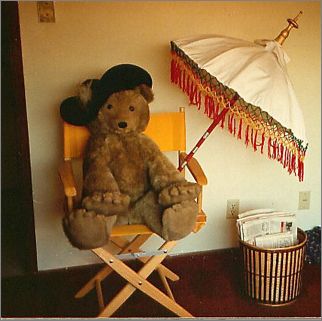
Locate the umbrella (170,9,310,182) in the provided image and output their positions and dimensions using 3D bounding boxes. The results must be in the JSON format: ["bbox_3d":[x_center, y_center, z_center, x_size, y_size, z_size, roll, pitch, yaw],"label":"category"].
[{"bbox_3d":[0.359,-0.314,1.824,0.610,0.743,0.637,0,8,-18],"label":"umbrella"}]

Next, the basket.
[{"bbox_3d":[0.528,0.512,1.928,0.324,0.273,0.318,-4,5,-13],"label":"basket"}]

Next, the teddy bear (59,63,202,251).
[{"bbox_3d":[-0.146,-0.047,1.682,0.576,0.758,0.499,1,8,-14],"label":"teddy bear"}]
